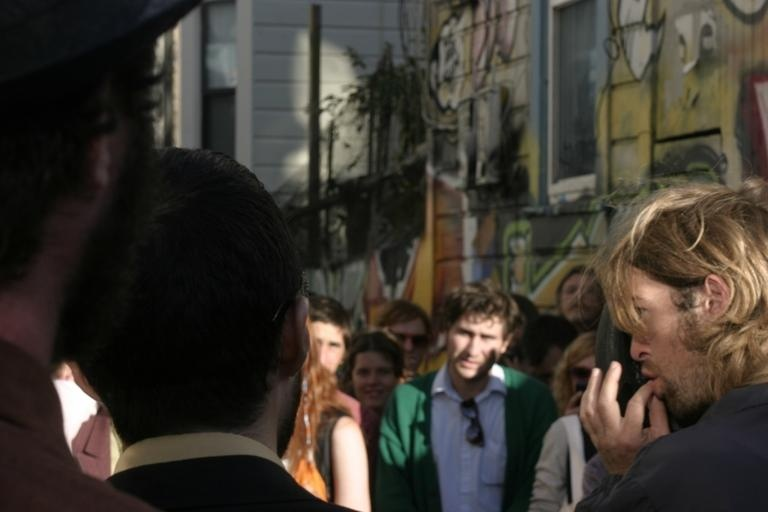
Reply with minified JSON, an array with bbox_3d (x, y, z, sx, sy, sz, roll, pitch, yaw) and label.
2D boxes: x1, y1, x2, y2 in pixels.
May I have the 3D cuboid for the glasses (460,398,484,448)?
[{"bbox_3d":[0.574,1.076,10.444,0.107,0.293,0.153,-1,1,-18],"label":"glasses"}]
